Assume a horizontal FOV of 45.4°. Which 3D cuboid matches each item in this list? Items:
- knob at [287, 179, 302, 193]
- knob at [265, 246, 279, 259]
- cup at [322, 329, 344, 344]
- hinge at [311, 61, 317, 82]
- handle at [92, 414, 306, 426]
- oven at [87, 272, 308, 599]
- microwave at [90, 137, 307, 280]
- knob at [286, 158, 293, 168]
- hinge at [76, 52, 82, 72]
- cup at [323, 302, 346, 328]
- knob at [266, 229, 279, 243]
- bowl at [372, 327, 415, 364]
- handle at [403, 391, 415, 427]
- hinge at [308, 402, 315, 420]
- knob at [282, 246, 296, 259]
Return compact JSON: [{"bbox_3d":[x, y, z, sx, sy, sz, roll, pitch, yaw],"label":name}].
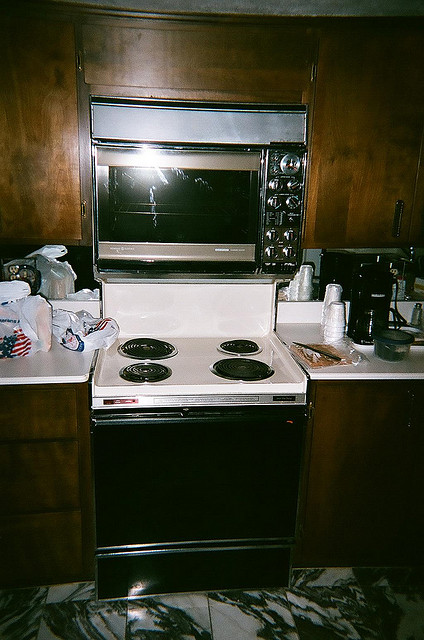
[{"bbox_3d":[0.289,-0.465,1.758,0.034,0.044,0.011,1,25,-10],"label":"knob"},{"bbox_3d":[0.216,-0.244,1.830,0.035,0.044,0.016,-13,22,-10],"label":"knob"},{"bbox_3d":[0.489,0.069,2.038,0.059,0.060,0.059,0,-10,0],"label":"cup"},{"bbox_3d":[0.362,-0.881,1.796,0.017,0.063,0.004,0,13,-8],"label":"hinge"},{"bbox_3d":[-0.034,0.323,1.639,0.689,0.025,0.007,0,13,-8],"label":"handle"},{"bbox_3d":[-0.064,0.327,1.867,0.711,1.204,0.441,0,12,-10],"label":"oven"},{"bbox_3d":[-0.022,-0.431,1.950,0.798,0.510,0.453,4,11,11],"label":"microwave"},{"bbox_3d":[0.264,-0.537,1.727,0.017,0.025,0.006,-4,12,-7],"label":"knob"},{"bbox_3d":[-0.444,-0.860,1.687,0.015,0.056,0.004,0,14,-11],"label":"hinge"},{"bbox_3d":[0.501,-0.021,2.077,0.086,0.094,0.090,3,13,-1],"label":"cup"},{"bbox_3d":[0.217,-0.301,1.809,0.036,0.044,0.013,-4,20,-9],"label":"knob"},{"bbox_3d":[0.672,0.085,1.891,0.132,0.089,0.133,-1,19,0],"label":"bowl"},{"bbox_3d":[0.693,0.314,1.786,0.035,0.138,0.009,0,14,-11],"label":"handle"},{"bbox_3d":[0.343,0.314,1.749,0.023,0.063,0.004,-4,15,-24],"label":"hinge"},{"bbox_3d":[0.278,-0.246,1.836,0.035,0.044,0.013,-2,22,0],"label":"knob"}]
